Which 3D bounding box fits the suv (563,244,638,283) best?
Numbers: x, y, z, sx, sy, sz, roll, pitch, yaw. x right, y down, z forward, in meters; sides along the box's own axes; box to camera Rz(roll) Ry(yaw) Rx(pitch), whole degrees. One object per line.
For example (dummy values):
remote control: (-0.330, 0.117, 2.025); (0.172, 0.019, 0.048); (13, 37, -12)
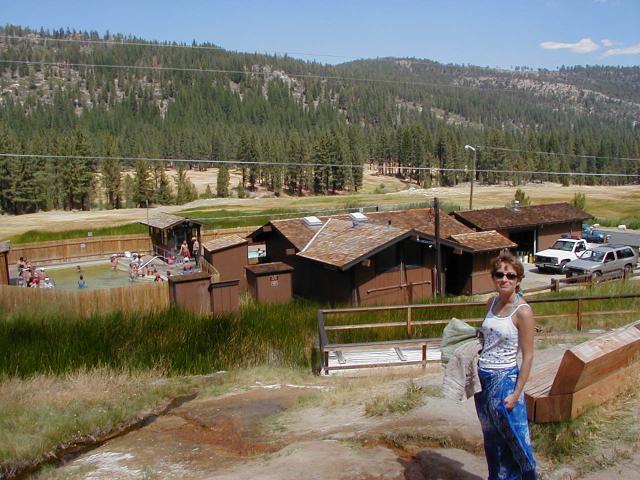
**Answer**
suv: (14.573, 1.167, 38.303); (4.344, 2.005, 1.639); (-1, 1, -42)
